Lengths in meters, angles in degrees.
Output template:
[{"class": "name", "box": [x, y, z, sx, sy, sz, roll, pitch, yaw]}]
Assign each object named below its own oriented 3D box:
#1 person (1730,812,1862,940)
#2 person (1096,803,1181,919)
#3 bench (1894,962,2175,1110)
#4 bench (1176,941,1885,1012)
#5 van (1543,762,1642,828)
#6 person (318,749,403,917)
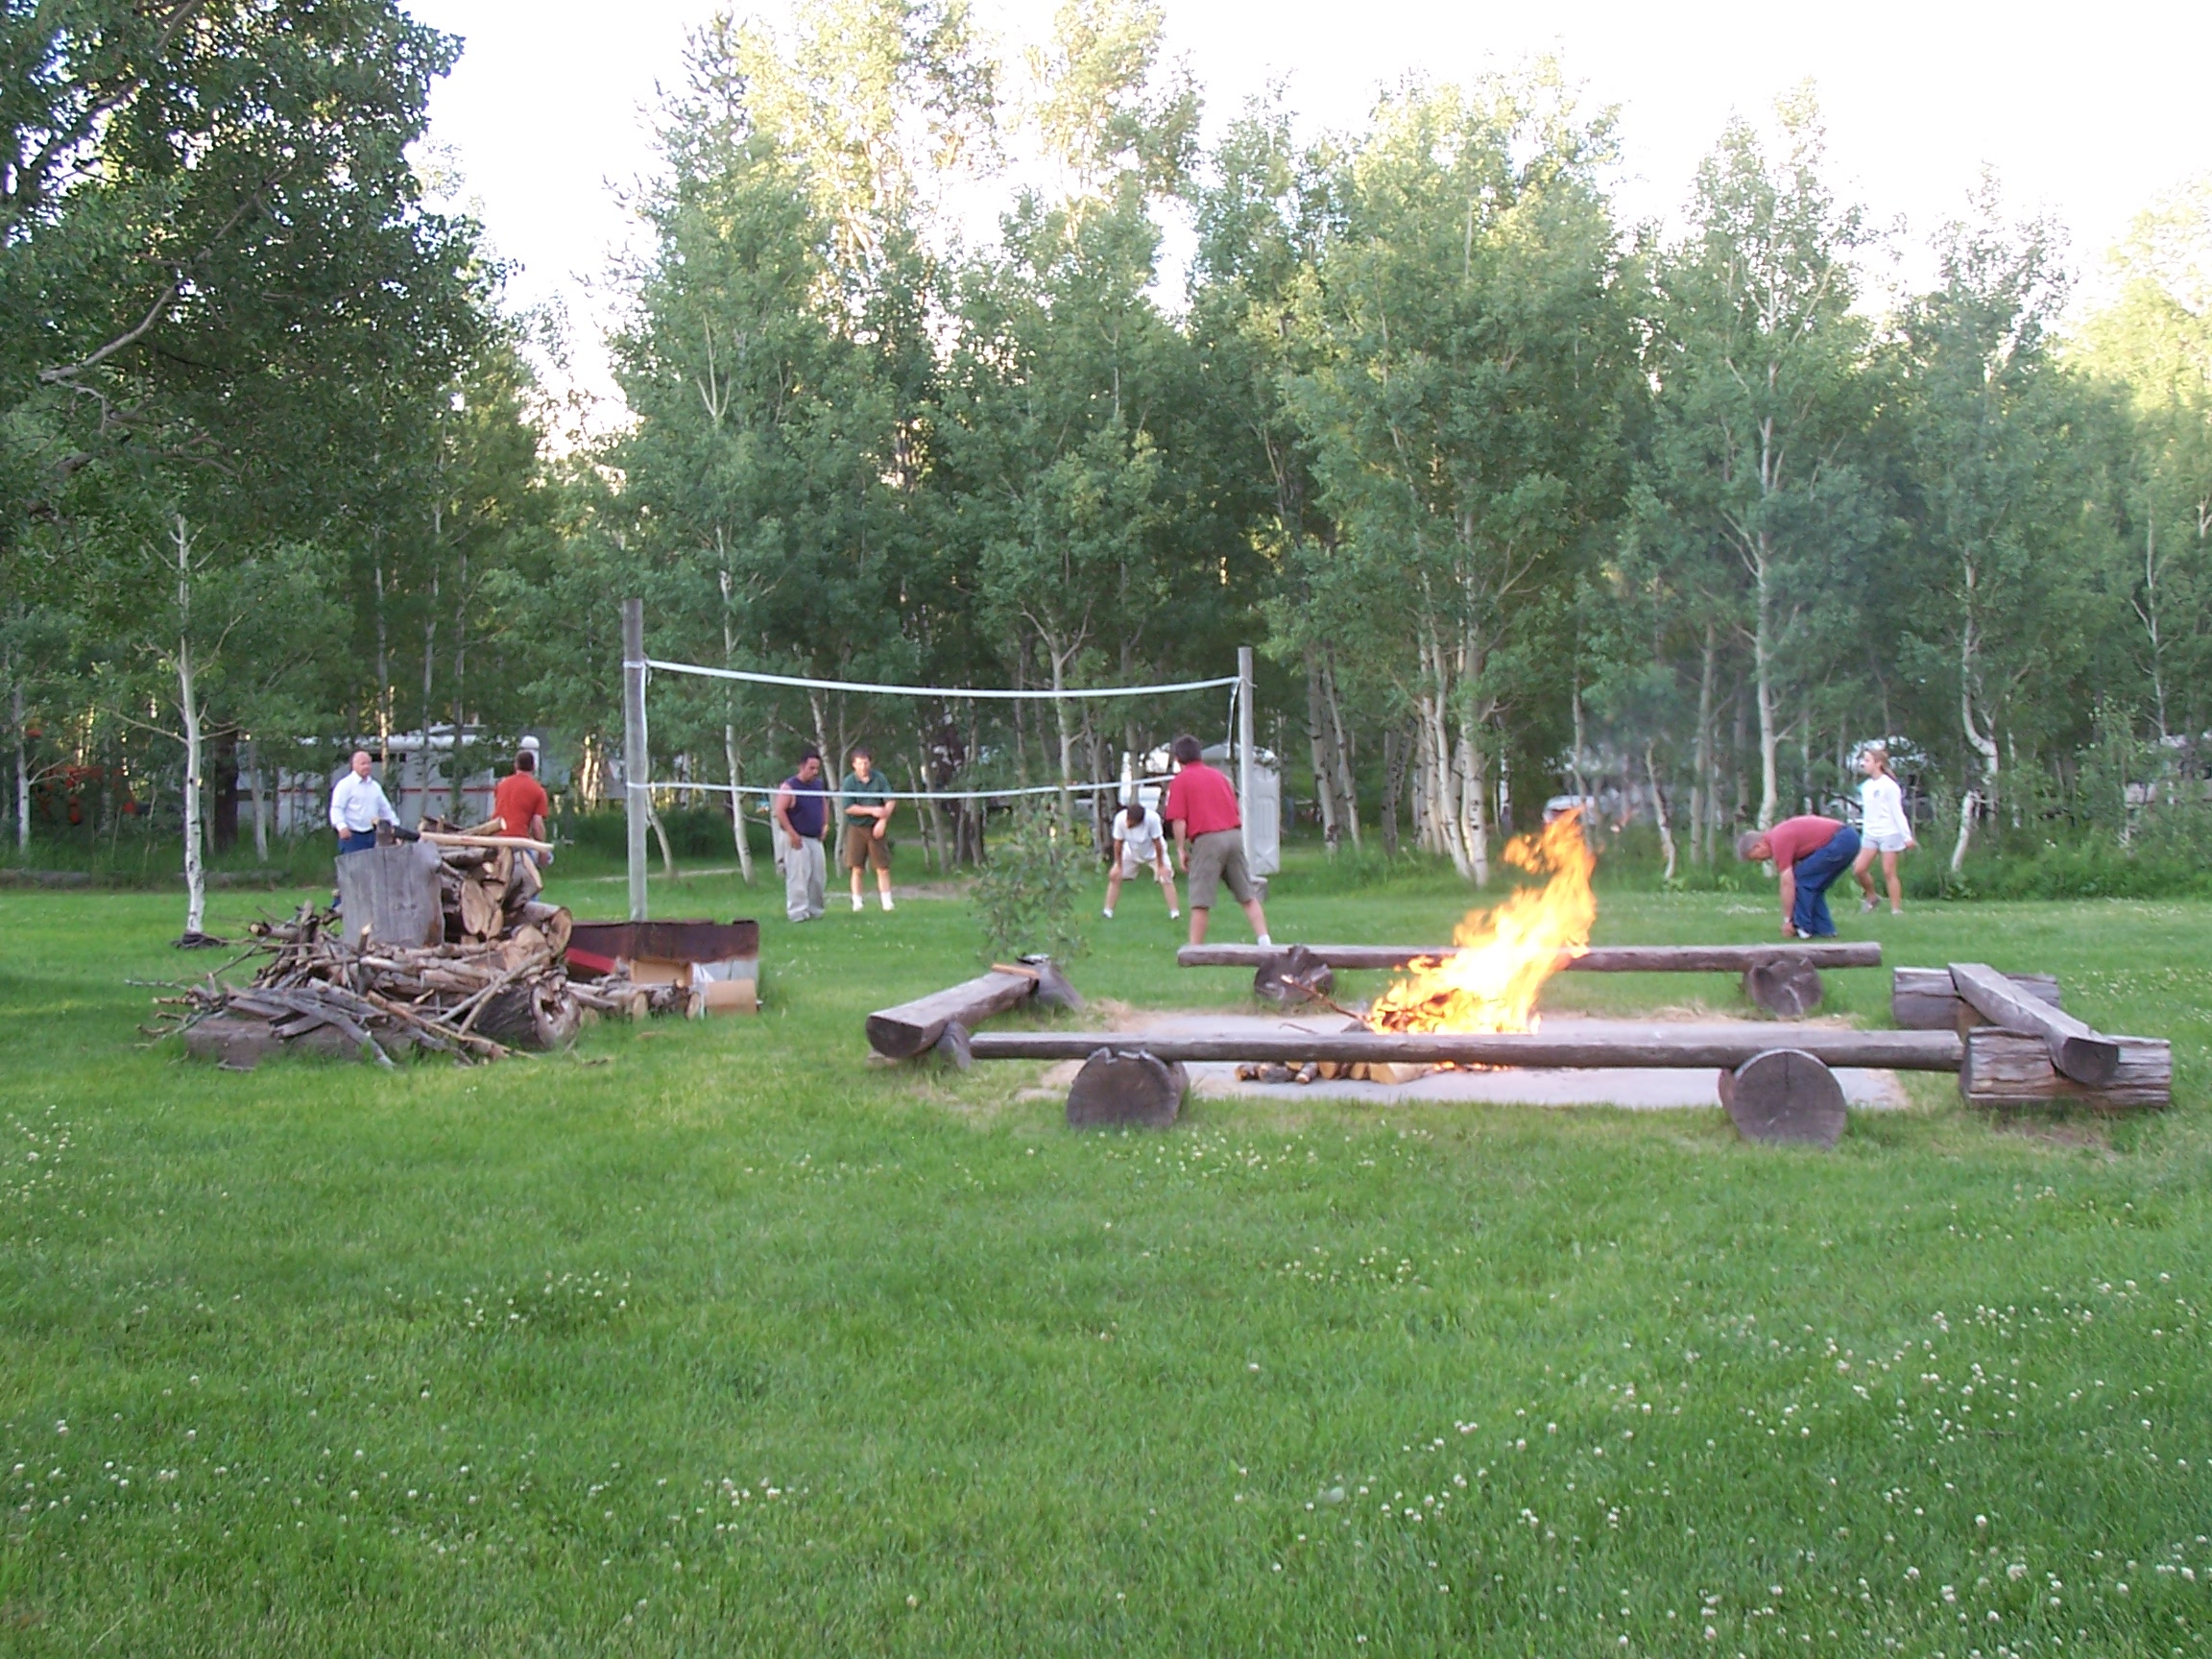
[{"class": "person", "box": [6.602, 0.463, 19.950, 1.161, 1.425, 1.131, 0, 3, 35]}, {"class": "person", "box": [0.448, 0.300, 27.439, 1.001, 1.869, 0.950, 1, 29, 8]}, {"class": "bench", "box": [5.865, 1.293, 13.249, 1.525, 0.750, 2.425, 0, -1, 21]}, {"class": "bench", "box": [3.507, 1.172, 17.067, 5.018, 0.539, 2.189, 0, -1, -6]}, {"class": "van", "box": [9.663, -0.703, 40.504, 0.852, 1.473, 5.234, -1, 1, 18]}, {"class": "person", "box": [-8.133, 0.011, 22.639, 0.692, 1.731, 0.552, 2, 33, -22]}]
